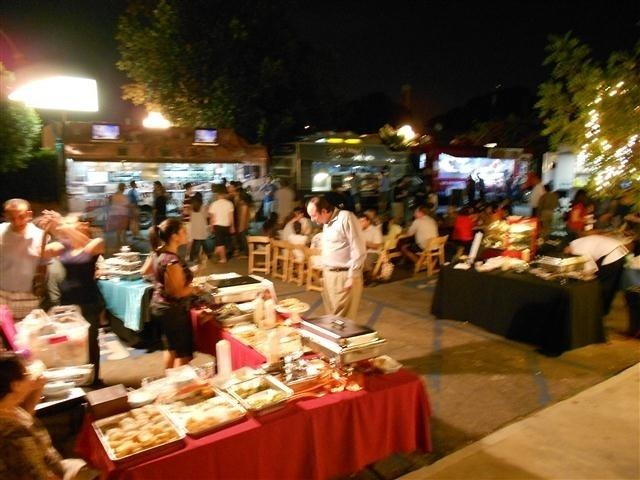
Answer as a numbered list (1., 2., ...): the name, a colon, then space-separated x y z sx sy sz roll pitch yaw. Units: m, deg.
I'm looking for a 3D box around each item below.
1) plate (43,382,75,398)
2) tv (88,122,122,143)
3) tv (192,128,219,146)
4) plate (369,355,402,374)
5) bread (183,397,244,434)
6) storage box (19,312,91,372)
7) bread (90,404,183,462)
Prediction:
1. plate: -1.875 1.060 3.186 0.173 0.084 0.197 -4 12 -15
2. tv: -6.556 -3.275 13.514 0.786 0.564 0.363 -6 14 -20
3. tv: -3.867 -3.439 14.905 1.061 0.634 0.528 1 11 -8
4. plate: 0.505 0.942 3.320 0.165 0.048 0.134 -9 24 -27
5. bread: -0.698 1.127 2.869 0.381 0.062 0.285 -6 12 -25
6. storage box: -2.279 0.790 3.749 0.500 0.218 0.662 -3 4 -43
7. bread: -1.110 1.185 2.728 0.420 0.086 0.462 -9 14 -35
